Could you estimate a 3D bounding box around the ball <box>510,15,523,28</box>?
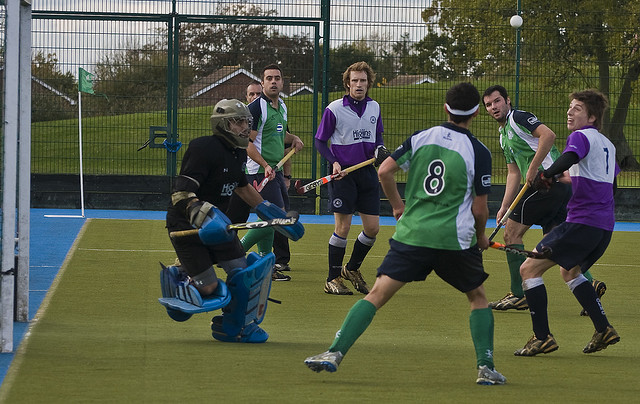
[{"bbox_3d":[3.802,-3.544,18.796,0.235,0.233,0.265,4,12,10],"label":"ball"}]
